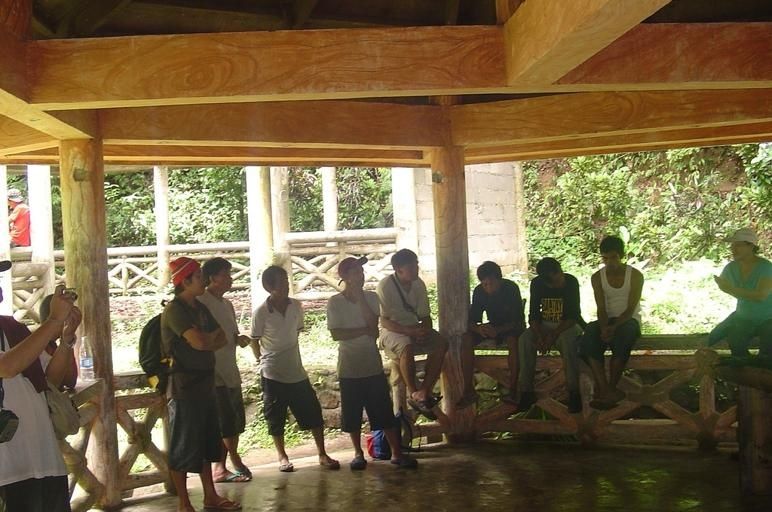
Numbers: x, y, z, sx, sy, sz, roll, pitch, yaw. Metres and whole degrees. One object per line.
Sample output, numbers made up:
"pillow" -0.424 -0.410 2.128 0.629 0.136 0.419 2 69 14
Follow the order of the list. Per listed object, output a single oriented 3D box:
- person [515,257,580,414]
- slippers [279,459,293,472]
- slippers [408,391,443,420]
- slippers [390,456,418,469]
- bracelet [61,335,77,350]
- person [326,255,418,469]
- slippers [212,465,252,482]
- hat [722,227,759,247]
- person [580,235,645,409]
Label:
"person" 2.032 1.046 8.583 0.780 2.012 0.942 -1 15 14
"slippers" -1.186 2.481 8.231 0.088 0.079 0.227 1 -4 -26
"slippers" 0.453 1.825 8.540 0.237 0.193 0.581 -1 1 -20
"slippers" 0.203 2.394 8.073 0.222 0.068 0.123 -2 -4 31
"bracelet" -2.652 0.727 5.847 0.109 0.074 0.039 26 36 -16
"person" -0.244 1.256 8.042 0.752 2.497 0.701 -6 15 -5
"slippers" -1.774 2.484 7.946 0.536 0.186 0.166 -3 -9 6
"hat" 3.961 -0.203 7.782 0.317 0.135 0.212 10 -1 4
"person" 2.650 0.769 8.251 0.637 1.920 0.878 2 16 23
